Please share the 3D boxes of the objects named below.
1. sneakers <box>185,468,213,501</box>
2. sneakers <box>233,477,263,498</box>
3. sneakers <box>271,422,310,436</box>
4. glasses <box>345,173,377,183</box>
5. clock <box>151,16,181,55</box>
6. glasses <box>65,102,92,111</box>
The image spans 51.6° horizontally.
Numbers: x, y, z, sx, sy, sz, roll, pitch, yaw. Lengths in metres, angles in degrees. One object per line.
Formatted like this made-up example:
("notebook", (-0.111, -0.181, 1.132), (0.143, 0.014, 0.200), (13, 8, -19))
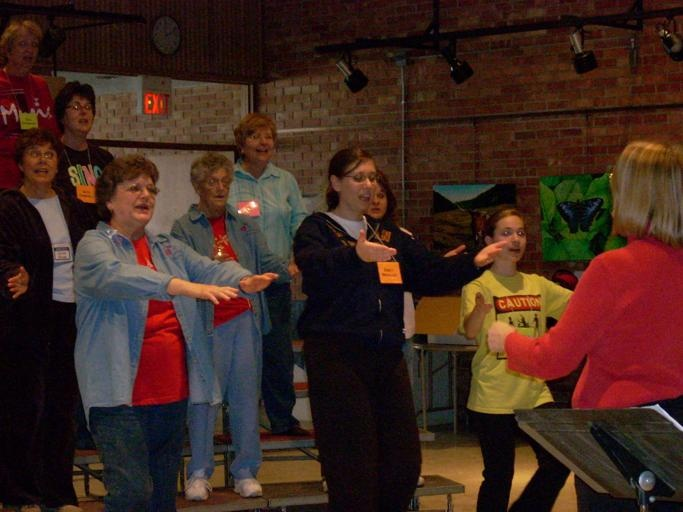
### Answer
("sneakers", (-0.808, 1.276, 3.960), (0.143, 0.142, 0.134), (-3, 6, -12))
("sneakers", (-0.532, 1.324, 4.047), (0.079, 0.072, 0.173), (7, -18, -35))
("sneakers", (-0.345, 1.115, 4.599), (0.279, 0.105, 0.091), (-3, -12, 4))
("glasses", (0.093, -0.370, 3.311), (0.077, 0.021, 0.074), (2, -12, -19))
("clock", (-2.106, -2.638, 8.402), (0.471, 0.509, 0.074), (-8, 3, -34))
("glasses", (-1.650, -0.946, 4.443), (0.158, 0.061, 0.057), (-6, 7, -35))
